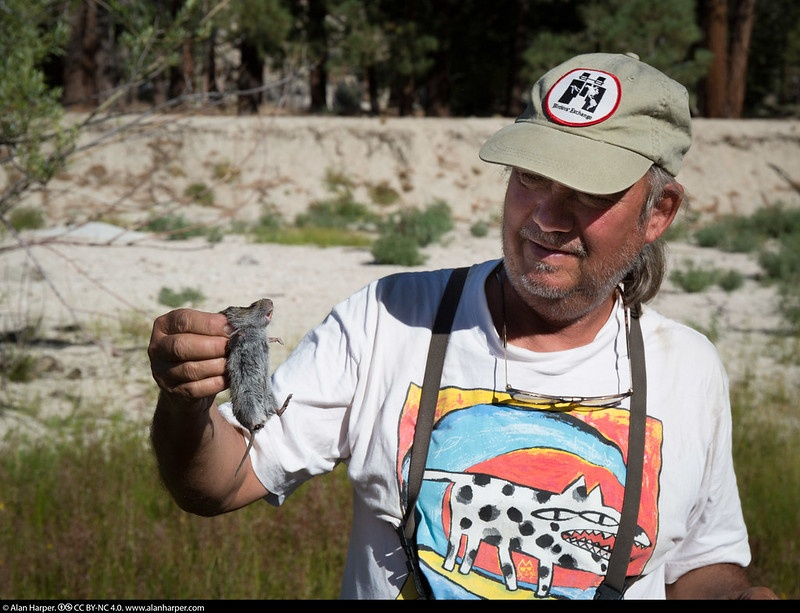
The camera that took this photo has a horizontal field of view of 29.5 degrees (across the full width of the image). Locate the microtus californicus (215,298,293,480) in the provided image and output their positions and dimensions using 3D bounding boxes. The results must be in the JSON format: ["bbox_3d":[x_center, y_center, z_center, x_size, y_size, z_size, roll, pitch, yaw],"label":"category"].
[{"bbox_3d":[-0.811,0.384,8.188,0.502,0.905,0.330,11,8,-2],"label":"microtus californicus"}]
